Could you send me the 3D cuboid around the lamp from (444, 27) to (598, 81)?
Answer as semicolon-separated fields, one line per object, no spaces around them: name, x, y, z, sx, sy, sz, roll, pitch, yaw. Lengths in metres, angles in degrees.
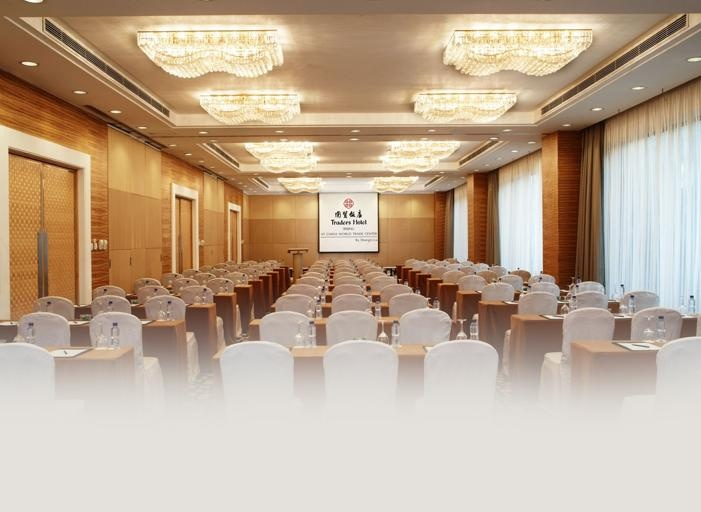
lamp;2.626;-3.081;7.085;2.012;0.392;1.108;5;7;20

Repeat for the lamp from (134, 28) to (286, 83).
lamp;-2.071;-3.076;6.975;2.030;0.398;1.033;-5;4;-9
